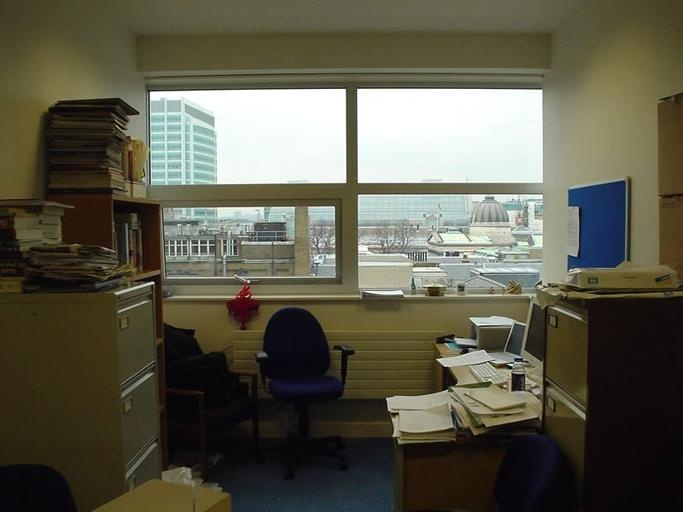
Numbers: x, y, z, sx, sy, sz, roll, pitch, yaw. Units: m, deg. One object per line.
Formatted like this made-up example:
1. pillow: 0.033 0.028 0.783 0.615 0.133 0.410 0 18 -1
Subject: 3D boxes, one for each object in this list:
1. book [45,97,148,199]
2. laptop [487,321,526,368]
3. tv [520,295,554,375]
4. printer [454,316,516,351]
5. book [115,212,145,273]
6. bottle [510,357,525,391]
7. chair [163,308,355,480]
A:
1. book: -1.558 -0.712 3.858 0.541 0.773 0.605 0 2 5
2. laptop: 1.234 0.630 4.156 0.241 0.218 0.291 -7 0 -4
3. tv: 1.378 0.568 3.810 0.153 0.496 0.471 7 1 4
4. printer: 1.132 0.580 4.391 0.323 0.131 0.266 0 1 -3
5. book: -1.410 -0.091 3.723 0.130 0.399 0.390 -1 0 -11
6. bottle: 1.109 0.761 3.538 0.098 0.203 0.105 -4 21 2
7. chair: -0.696 1.071 4.469 1.084 0.905 0.512 1 -5 -29
